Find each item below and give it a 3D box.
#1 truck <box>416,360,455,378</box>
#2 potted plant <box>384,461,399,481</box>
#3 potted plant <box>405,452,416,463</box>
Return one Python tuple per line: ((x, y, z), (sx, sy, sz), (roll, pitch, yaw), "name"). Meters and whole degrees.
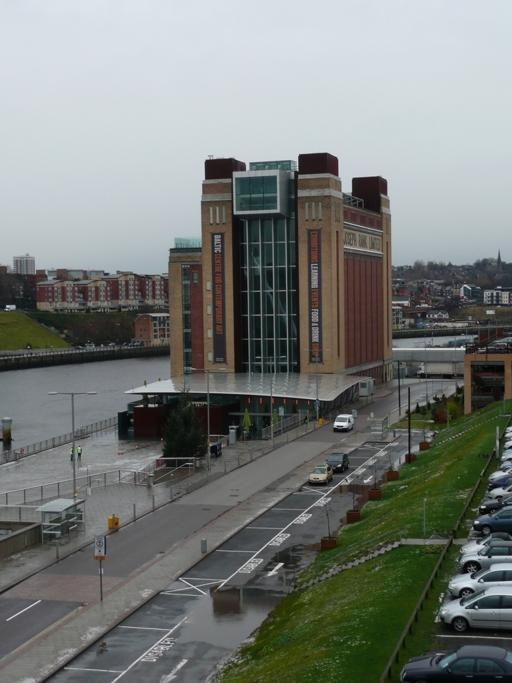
((22.545, 3.656, 141.673), (3.945, 1.982, 2.074), (1, 2, 12), "truck")
((7.545, 7.173, 62.515), (0.748, 1.482, 0.790), (-1, 1, 30), "potted plant")
((9.128, 6.892, 67.537), (0.496, 0.710, 0.712), (-1, 3, 17), "potted plant")
